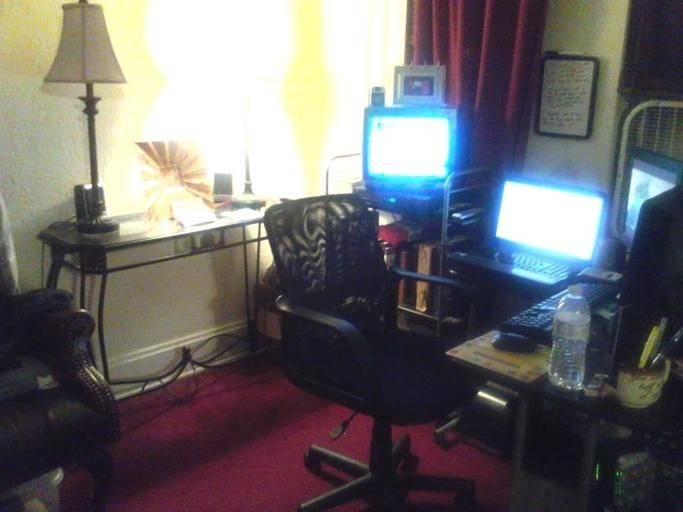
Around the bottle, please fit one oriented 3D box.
[{"bbox_3d":[0.782,0.276,2.013,0.120,0.318,0.183,7,19,21],"label":"bottle"}]

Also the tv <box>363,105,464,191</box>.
[{"bbox_3d":[0.418,-0.619,3.331,0.541,0.466,0.289,4,23,16],"label":"tv"}]

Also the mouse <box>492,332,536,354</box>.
[{"bbox_3d":[0.644,0.326,2.198,0.093,0.024,0.093,1,16,-1],"label":"mouse"}]

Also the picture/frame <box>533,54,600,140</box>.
[{"bbox_3d":[1.178,-0.843,3.062,0.371,0.510,0.052,15,20,39],"label":"picture/frame"}]

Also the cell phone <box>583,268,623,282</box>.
[{"bbox_3d":[1.135,0.084,2.579,0.090,0.021,0.084,-14,22,-38],"label":"cell phone"}]

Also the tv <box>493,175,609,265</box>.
[{"bbox_3d":[1.055,-0.099,3.005,0.375,0.355,0.529,-14,26,-43],"label":"tv"}]

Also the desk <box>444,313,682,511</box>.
[{"bbox_3d":[0.857,0.420,2.271,0.655,0.635,0.663,18,27,29],"label":"desk"}]

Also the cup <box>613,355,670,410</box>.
[{"bbox_3d":[1.013,0.407,1.953,0.211,0.179,0.122,2,-1,-9],"label":"cup"}]

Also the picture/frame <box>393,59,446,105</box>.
[{"bbox_3d":[0.422,-0.939,3.253,0.263,0.188,0.150,1,12,4],"label":"picture/frame"}]

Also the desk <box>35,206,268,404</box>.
[{"bbox_3d":[-1.010,0.253,3.056,0.376,0.779,0.906,14,20,37],"label":"desk"}]
